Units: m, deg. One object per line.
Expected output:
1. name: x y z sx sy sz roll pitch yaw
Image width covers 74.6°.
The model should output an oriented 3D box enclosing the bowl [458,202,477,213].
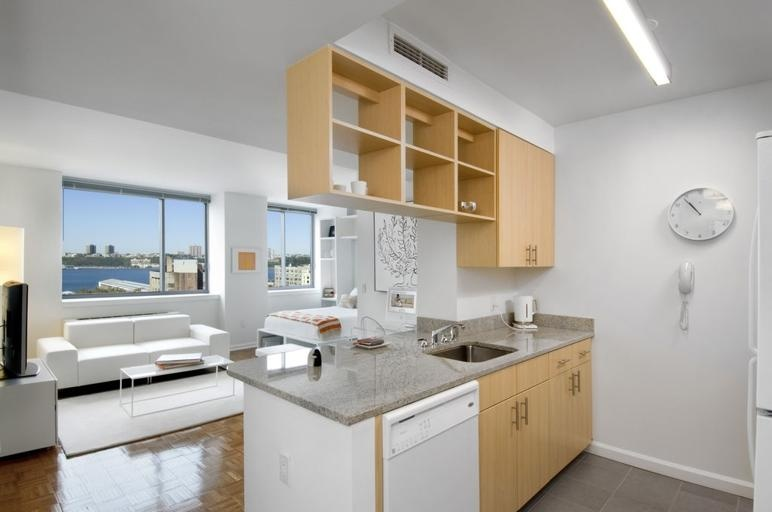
1. bowl: 0.747 -0.446 4.651 0.112 0.086 0.133 -1 5 -11

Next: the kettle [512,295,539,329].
1. kettle: 1.413 0.572 5.198 0.302 0.329 0.275 0 -3 15

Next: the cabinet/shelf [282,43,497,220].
1. cabinet/shelf: 0.088 -0.902 4.155 1.858 1.362 0.605 -9 16 -35

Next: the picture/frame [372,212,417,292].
1. picture/frame: 0.128 -0.025 6.196 0.020 0.976 0.965 3 -4 -42

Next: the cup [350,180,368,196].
1. cup: -0.200 -0.507 3.833 0.132 0.105 0.108 2 -8 -10

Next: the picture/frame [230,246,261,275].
1. picture/frame: -2.464 0.076 8.753 0.035 0.370 0.504 0 0 40

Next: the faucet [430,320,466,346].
1. faucet: 0.556 0.713 4.627 0.125 0.155 0.432 2 2 42

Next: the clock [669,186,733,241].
1. clock: 2.890 -0.386 4.605 0.492 0.514 0.054 -4 -3 28

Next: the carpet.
1. carpet: -2.752 1.794 6.042 1.938 0.254 1.751 -7 14 -32

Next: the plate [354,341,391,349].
1. plate: -0.124 0.795 4.502 0.314 0.056 0.170 0 12 -4

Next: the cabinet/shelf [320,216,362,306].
1. cabinet/shelf: -0.941 0.070 10.094 0.664 1.880 1.064 -5 14 -23

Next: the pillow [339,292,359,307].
1. pillow: -0.632 0.785 9.027 0.370 0.345 0.112 -5 -32 34

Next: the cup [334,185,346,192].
1. cup: -0.345 -0.484 3.691 0.065 0.039 0.065 -1 -1 0
